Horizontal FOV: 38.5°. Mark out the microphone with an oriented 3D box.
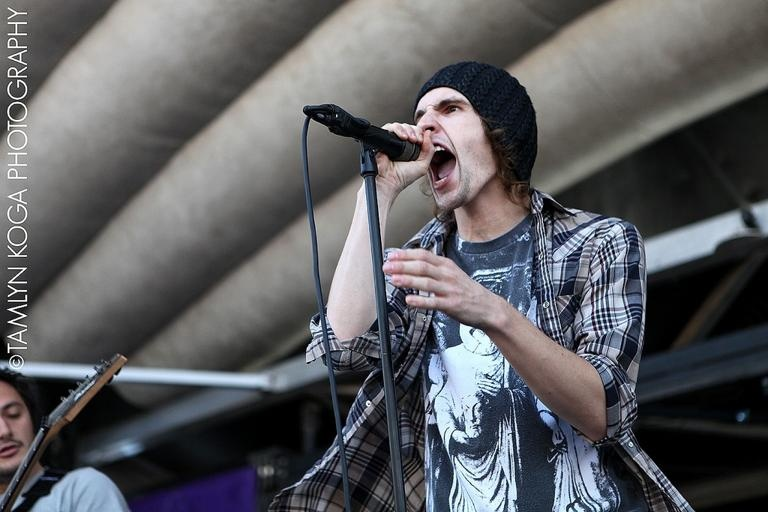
[{"bbox_3d":[-0.089,-0.591,5.084,0.146,0.180,0.687,22,-7,43],"label":"microphone"}]
